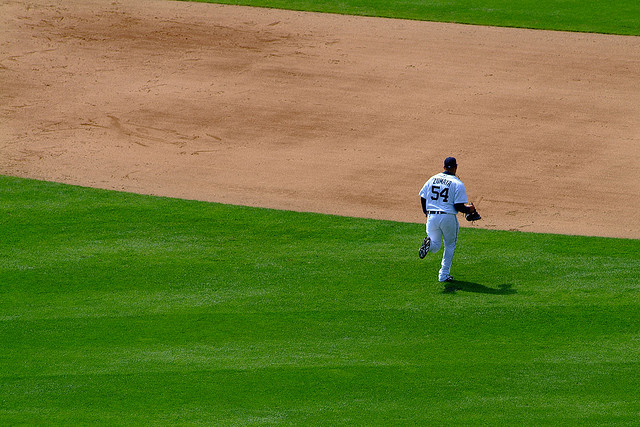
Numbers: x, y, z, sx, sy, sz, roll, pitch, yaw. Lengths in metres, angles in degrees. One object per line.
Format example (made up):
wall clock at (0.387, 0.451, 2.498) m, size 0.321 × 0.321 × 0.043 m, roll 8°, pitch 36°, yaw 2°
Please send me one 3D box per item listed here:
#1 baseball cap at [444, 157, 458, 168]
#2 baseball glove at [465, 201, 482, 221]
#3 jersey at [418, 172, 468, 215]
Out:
baseball cap at (3.252, -1.318, 43.436) m, size 0.276 × 0.223 × 0.423 m, roll 3°, pitch 13°, yaw 0°
baseball glove at (3.810, -0.048, 43.502) m, size 0.362 × 0.464 × 0.660 m, roll 4°, pitch 14°, yaw 4°
jersey at (3.221, -0.559, 43.492) m, size 1.501 × 0.956 × 0.782 m, roll 10°, pitch 12°, yaw 41°
